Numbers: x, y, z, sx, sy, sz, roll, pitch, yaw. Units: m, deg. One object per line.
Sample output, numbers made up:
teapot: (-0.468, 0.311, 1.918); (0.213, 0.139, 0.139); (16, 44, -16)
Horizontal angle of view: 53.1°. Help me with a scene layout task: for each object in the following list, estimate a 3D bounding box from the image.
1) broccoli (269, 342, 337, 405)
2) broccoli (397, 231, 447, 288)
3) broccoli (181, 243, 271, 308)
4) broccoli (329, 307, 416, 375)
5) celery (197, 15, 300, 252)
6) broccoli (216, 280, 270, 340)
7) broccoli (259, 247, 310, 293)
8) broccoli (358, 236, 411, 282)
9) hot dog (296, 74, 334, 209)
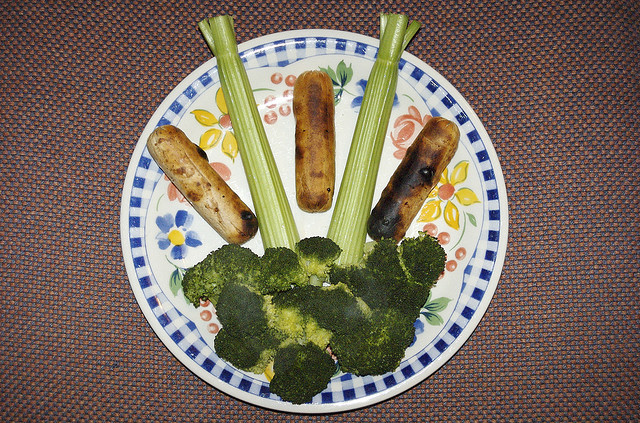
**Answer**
broccoli: (-0.111, 0.892, 3.593); (0.329, 0.160, 0.363); (34, 88, 1)
broccoli: (0.562, 0.262, 3.515); (0.235, 0.111, 0.285); (-32, 87, 2)
broccoli: (-0.505, 0.303, 3.660); (0.403, 0.343, 0.375); (2, 26, 32)
broccoli: (0.304, 0.732, 3.543); (0.421, 0.266, 0.374); (-3, 113, -1)
celery: (-0.412, -0.453, 3.761); (0.198, 0.039, 1.429); (-16, 88, -1)
broccoli: (-0.428, 0.540, 3.514); (0.252, 0.072, 0.324); (-4, 89, 4)
broccoli: (-0.204, 0.324, 3.604); (0.223, 0.084, 0.248); (37, 75, 6)
broccoli: (0.366, 0.250, 3.572); (0.249, 0.091, 0.225); (3, 70, 5)
hot dog: (-0.031, -0.396, 3.683); (0.188, 0.224, 0.799); (0, 89, -1)
